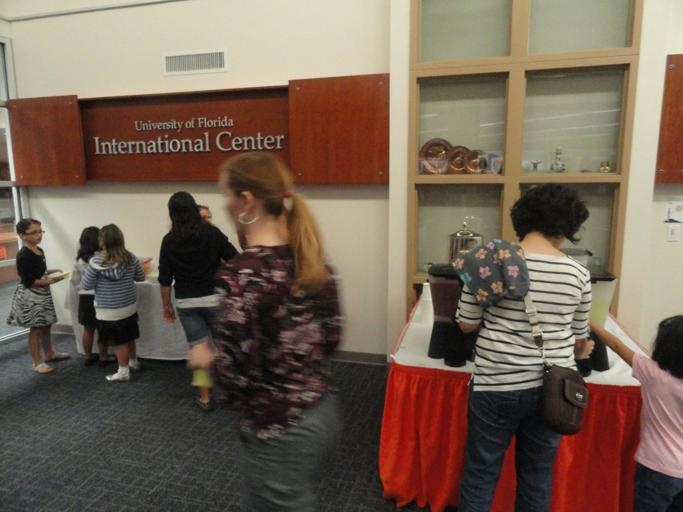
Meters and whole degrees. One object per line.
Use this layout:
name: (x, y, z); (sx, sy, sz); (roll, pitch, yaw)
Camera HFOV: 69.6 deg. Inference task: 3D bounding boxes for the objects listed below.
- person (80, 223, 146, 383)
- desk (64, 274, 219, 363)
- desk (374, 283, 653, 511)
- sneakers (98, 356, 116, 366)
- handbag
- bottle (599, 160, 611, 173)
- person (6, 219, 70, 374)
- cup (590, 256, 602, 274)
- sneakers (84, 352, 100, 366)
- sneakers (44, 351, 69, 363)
person: (-1.941, 0.412, 4.229); (0.496, 1.365, 0.172); (-7, 13, -24)
desk: (-1.866, 0.683, 4.595); (1.214, 0.781, 0.797); (1, 11, 4)
desk: (0.959, 0.907, 2.981); (1.163, 0.621, 1.162); (4, 14, 9)
sneakers: (-2.211, 0.978, 4.642); (0.069, 0.072, 0.189); (3, 7, 12)
handbag: (1.012, 0.532, 2.326); (0.304, 0.697, 0.174); (1, 12, 12)
bottle: (1.987, -0.669, 3.700); (0.079, 0.081, 0.101); (3, 13, 21)
person: (-2.789, 0.348, 4.489); (0.508, 1.391, 0.609); (-9, 14, -30)
cup: (1.593, 0.057, 3.092); (0.080, 0.137, 0.079); (-4, 10, 1)
sneakers: (-2.388, 0.973, 4.667); (0.068, 0.079, 0.204); (1, 3, 0)
sneakers: (-2.743, 0.967, 4.725); (0.082, 0.062, 0.150); (10, 13, 42)
